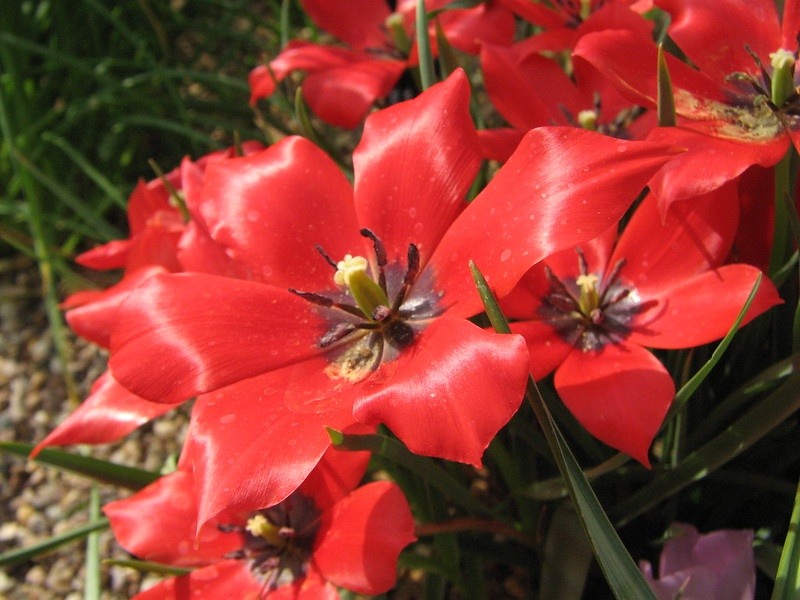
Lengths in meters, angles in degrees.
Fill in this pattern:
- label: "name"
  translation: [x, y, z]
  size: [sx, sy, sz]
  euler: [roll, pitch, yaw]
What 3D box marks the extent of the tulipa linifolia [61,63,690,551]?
- label: "tulipa linifolia"
  translation: [-0.024, -0.038, 0.982]
  size: [0.745, 0.498, 0.309]
  euler: [-14, 5, 6]
